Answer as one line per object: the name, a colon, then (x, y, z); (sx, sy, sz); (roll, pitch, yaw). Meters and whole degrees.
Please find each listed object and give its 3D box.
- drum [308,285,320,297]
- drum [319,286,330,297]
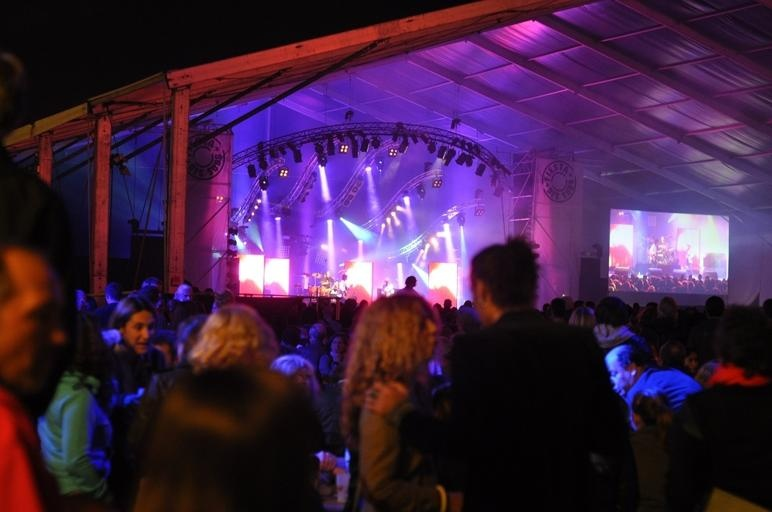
drum: (-1.907, 0.947, 18.872); (0.283, 0.261, 0.471); (-2, 6, -3)
drum: (-1.754, 0.998, 20.628); (0.323, 0.223, 0.940); (3, -5, -4)
